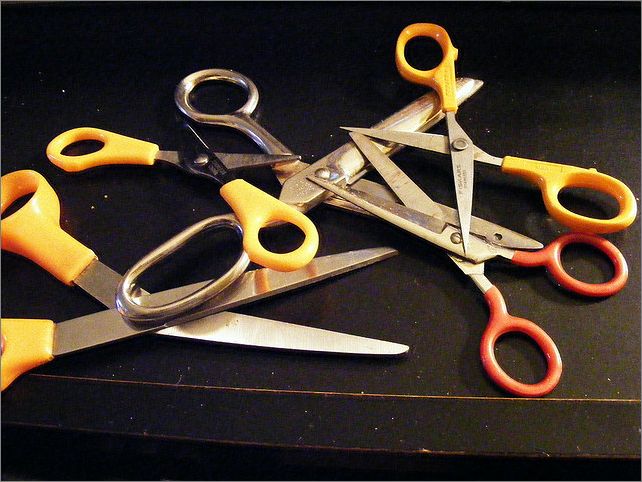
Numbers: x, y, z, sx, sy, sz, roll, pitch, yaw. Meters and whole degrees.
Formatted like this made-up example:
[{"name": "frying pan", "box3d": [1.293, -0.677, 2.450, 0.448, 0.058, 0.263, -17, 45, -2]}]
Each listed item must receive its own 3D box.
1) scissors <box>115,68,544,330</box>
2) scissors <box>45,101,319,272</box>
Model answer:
[{"name": "scissors", "box3d": [-0.052, -0.005, 1.009, 0.376, 0.040, 0.383, -28, 52, -21]}, {"name": "scissors", "box3d": [-0.169, -0.087, 0.933, 0.378, 0.020, 0.173, 28, 53, 30]}]
